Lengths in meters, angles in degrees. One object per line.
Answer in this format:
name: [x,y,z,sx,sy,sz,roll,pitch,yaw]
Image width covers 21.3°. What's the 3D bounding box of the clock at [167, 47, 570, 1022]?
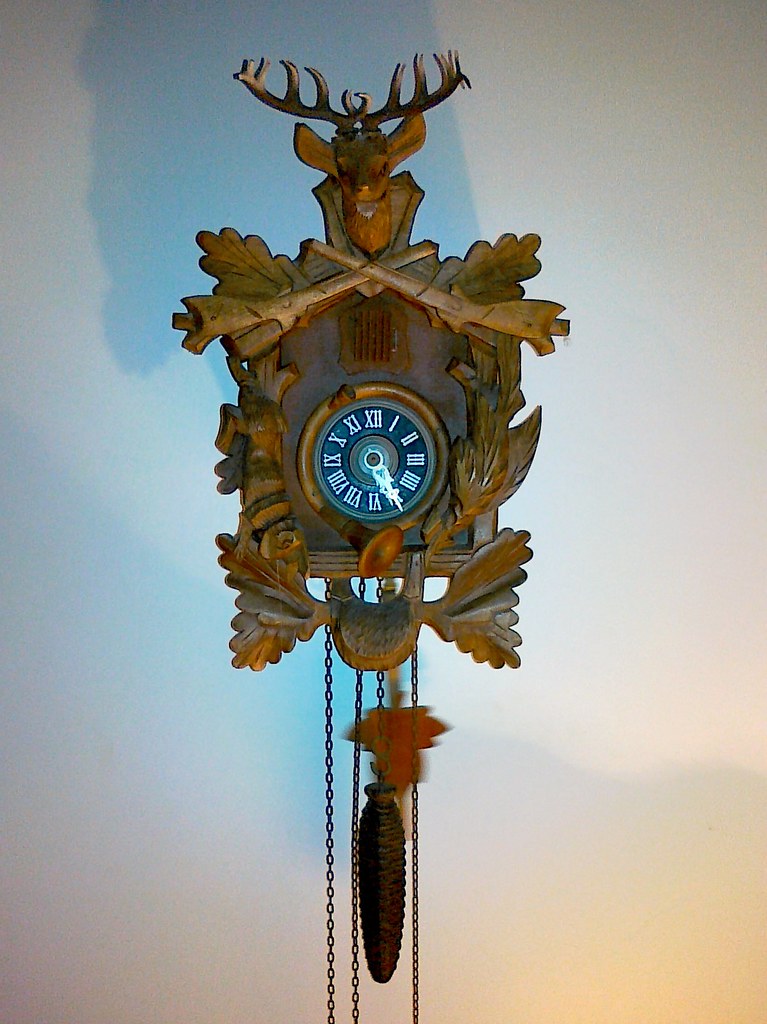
clock: [-0.002,-0.024,3.610,0.666,1.588,0.861,-4,-26,13]
